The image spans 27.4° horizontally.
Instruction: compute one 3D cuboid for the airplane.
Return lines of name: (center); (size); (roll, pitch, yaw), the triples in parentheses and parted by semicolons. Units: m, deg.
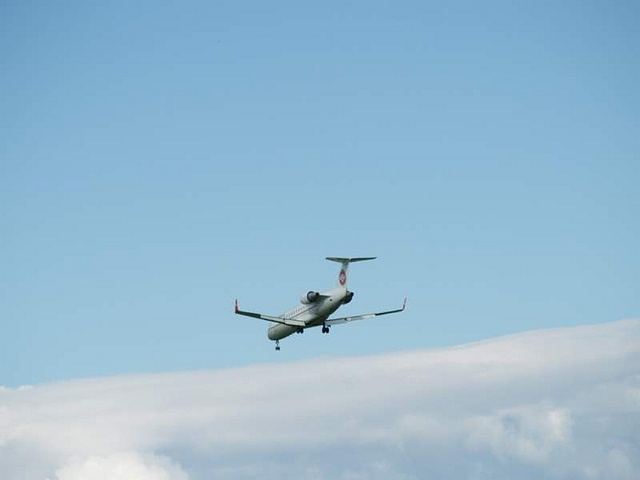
airplane: (-2.009, 7.530, 129.617); (15.906, 4.245, 13.452); (4, -14, -32)
